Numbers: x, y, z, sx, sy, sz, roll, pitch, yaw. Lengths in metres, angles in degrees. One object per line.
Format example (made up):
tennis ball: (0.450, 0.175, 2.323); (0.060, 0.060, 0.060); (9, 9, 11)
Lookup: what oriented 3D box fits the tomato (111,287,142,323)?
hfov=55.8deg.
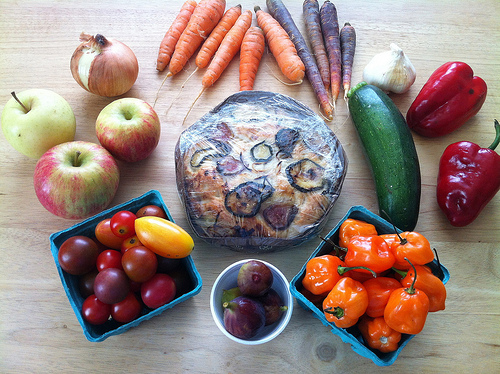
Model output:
tomato: (-0.315, 0.306, 1.224); (0.073, 0.072, 0.076); (-2, 93, -6)

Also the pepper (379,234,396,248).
pepper: (0.373, 0.140, 1.244); (0.027, 0.023, 0.038); (-1, 16, 9)

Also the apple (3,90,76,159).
apple: (-0.621, -0.178, 1.387); (0.151, 0.105, 0.167); (30, 45, 29)

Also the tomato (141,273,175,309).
tomato: (-0.238, 0.272, 1.238); (0.092, 0.055, 0.073); (-31, 64, -14)

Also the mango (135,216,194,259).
mango: (-0.228, 0.137, 1.242); (0.160, 0.096, 0.082); (17, 62, 11)

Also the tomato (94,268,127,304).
tomato: (-0.352, 0.255, 1.206); (0.084, 0.072, 0.079); (4, 61, 5)

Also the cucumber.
cucumber: (0.425, -0.107, 1.438); (0.139, 0.125, 0.467); (-11, 62, -3)

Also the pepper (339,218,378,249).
pepper: (0.282, 0.113, 1.283); (0.114, 0.070, 0.131); (0, 31, 14)

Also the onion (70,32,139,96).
onion: (-0.432, -0.363, 1.541); (0.186, 0.190, 0.198); (22, 82, 6)

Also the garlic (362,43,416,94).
garlic: (0.451, -0.365, 1.602); (0.156, 0.152, 0.161); (26, 75, 0)

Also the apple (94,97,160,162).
apple: (-0.363, -0.160, 1.436); (0.181, 0.160, 0.147); (-28, 63, -13)

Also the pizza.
pizza: (0.038, -0.044, 1.509); (0.447, 0.357, 0.508); (1, 43, -1)

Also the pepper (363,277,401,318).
pepper: (0.329, 0.271, 1.199); (0.077, 0.068, 0.102); (38, 70, 18)

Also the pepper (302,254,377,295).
pepper: (0.233, 0.207, 1.216); (0.162, 0.092, 0.084); (-9, 93, 3)

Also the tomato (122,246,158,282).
tomato: (-0.285, 0.198, 1.220); (0.086, 0.059, 0.081); (-25, 63, -11)

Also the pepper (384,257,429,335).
pepper: (0.397, 0.271, 1.178); (0.102, 0.189, 0.103); (9, 19, 17)

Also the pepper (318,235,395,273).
pepper: (0.311, 0.170, 1.247); (0.132, 0.107, 0.099); (-1, 23, 28)

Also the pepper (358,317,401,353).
pepper: (0.333, 0.374, 1.195); (0.097, 0.056, 0.093); (-4, 36, 0)

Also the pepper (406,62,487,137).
pepper: (0.628, -0.269, 1.555); (0.258, 0.135, 0.195); (-43, 86, 0)

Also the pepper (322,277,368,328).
pepper: (0.244, 0.291, 1.188); (0.091, 0.063, 0.118); (37, 69, 20)
